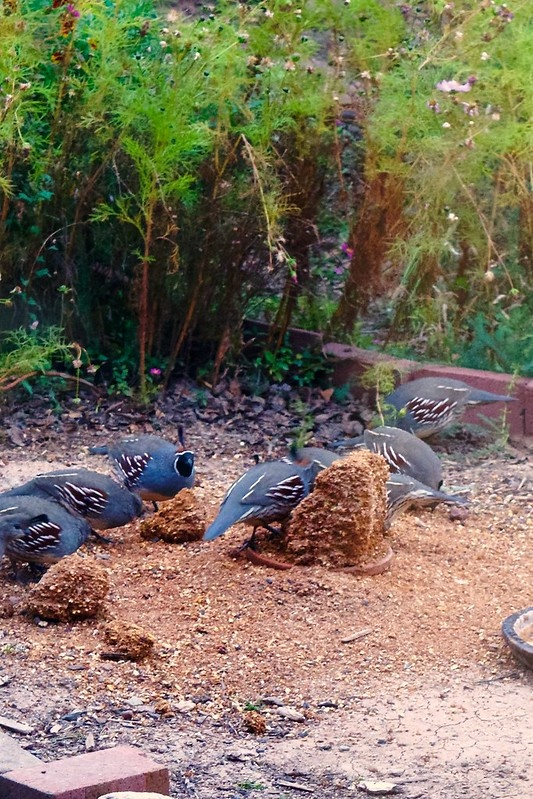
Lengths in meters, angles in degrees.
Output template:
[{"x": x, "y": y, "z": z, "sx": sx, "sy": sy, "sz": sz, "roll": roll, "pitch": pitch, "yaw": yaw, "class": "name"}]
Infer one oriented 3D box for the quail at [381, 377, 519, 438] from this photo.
[{"x": 1.127, "y": 0.067, "z": 6.029, "sx": 0.675, "sy": 0.391, "sz": 0.378, "roll": -2, "pitch": 12, "yaw": -12, "class": "quail"}]
